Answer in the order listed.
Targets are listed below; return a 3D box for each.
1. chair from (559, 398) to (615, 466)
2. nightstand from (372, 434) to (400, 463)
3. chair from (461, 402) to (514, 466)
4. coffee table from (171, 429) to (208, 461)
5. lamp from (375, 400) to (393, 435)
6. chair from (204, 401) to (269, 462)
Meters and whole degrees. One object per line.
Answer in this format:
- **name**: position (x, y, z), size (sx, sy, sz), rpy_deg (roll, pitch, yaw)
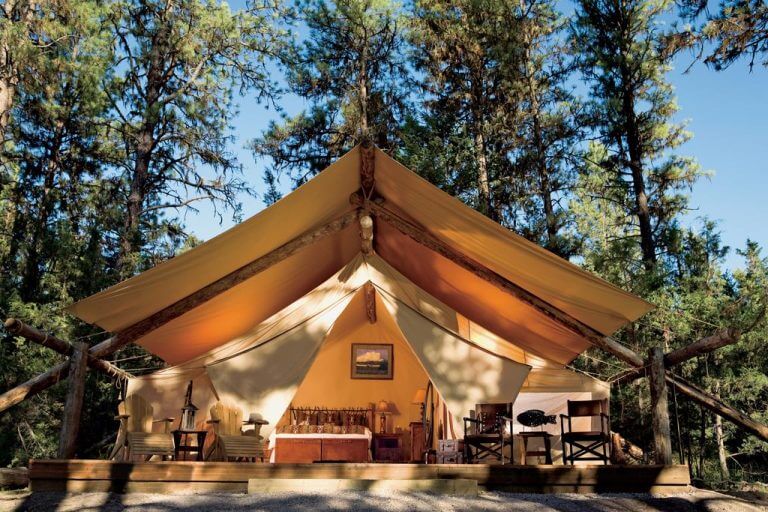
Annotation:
- **chair**: position (4.510, 3.865, 16.876), size (1.202, 1.533, 1.351), rpy_deg (1, -14, -4)
- **nightstand**: position (0.056, 4.891, 19.332), size (0.595, 0.636, 0.656), rpy_deg (1, -25, -1)
- **chair**: position (2.350, 4.106, 17.162), size (1.099, 1.222, 1.458), rpy_deg (2, -25, 6)
- **coffee table**: position (-4.331, 4.173, 16.789), size (0.788, 0.829, 0.859), rpy_deg (3, -33, -12)
- **lamp**: position (-0.029, 4.427, 20.937), size (0.480, 0.880, 0.524), rpy_deg (-12, -18, 39)
- **chair**: position (-3.283, 3.809, 16.562), size (1.122, 1.541, 1.484), rpy_deg (9, -15, -38)
